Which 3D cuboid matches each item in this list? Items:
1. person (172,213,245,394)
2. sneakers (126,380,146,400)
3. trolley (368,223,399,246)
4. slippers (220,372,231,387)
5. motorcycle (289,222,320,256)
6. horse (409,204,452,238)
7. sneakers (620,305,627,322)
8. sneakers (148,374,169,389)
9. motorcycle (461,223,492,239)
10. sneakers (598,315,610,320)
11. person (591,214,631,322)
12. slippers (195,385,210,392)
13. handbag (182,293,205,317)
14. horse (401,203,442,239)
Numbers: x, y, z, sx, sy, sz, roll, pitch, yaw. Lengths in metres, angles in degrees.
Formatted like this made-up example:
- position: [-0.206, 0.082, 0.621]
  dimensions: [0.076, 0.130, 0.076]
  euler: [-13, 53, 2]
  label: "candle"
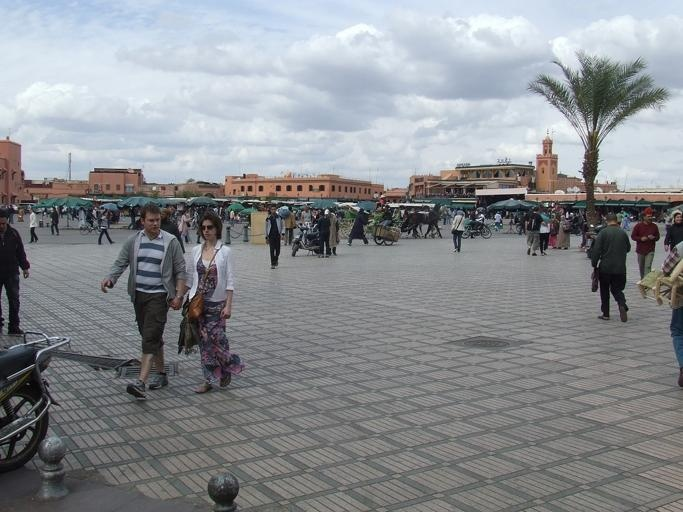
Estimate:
- position: [-1.401, 0.466, 5.883]
  dimensions: [0.628, 1.863, 0.519]
  euler: [-1, 5, -16]
  label: "person"
- position: [-2.025, 1.325, 5.476]
  dimensions: [0.176, 0.164, 0.271]
  euler: [-2, 6, -20]
  label: "sneakers"
- position: [2.222, -1.143, 28.470]
  dimensions: [1.458, 0.945, 1.071]
  euler: [0, 2, -39]
  label: "trolley"
- position: [-1.238, 1.310, 5.894]
  dimensions: [0.116, 0.181, 0.069]
  euler: [-1, 4, 10]
  label: "slippers"
- position: [-1.391, -0.682, 21.925]
  dimensions: [0.847, 1.204, 2.129]
  euler: [4, 5, 33]
  label: "motorcycle"
- position: [5.587, -2.325, 35.453]
  dimensions: [3.397, 1.975, 0.760]
  euler: [-1, 1, 43]
  label: "horse"
- position: [4.764, 0.982, 9.314]
  dimensions: [0.126, 0.310, 0.135]
  euler: [-1, -8, -5]
  label: "sneakers"
- position: [-1.952, 1.339, 5.919]
  dimensions: [0.096, 0.102, 0.254]
  euler: [0, -3, 27]
  label: "sneakers"
- position: [9.013, -1.755, 36.251]
  dimensions: [1.929, 1.104, 1.113]
  euler: [0, 10, -3]
  label: "motorcycle"
- position: [4.470, 1.048, 9.457]
  dimensions: [0.081, 0.071, 0.177]
  euler: [-5, 13, -16]
  label: "sneakers"
- position: [4.771, 0.157, 9.829]
  dimensions: [0.632, 1.819, 1.324]
  euler: [3, 6, 27]
  label: "person"
- position: [-1.445, 1.371, 5.758]
  dimensions: [0.157, 0.098, 0.074]
  euler: [3, 0, -14]
  label: "slippers"
- position: [-1.525, 0.513, 5.735]
  dimensions: [0.216, 0.201, 0.084]
  euler: [23, -18, -30]
  label: "handbag"
- position: [5.368, -2.249, 35.590]
  dimensions: [3.423, 2.065, 0.750]
  euler: [-4, 0, -19]
  label: "horse"
